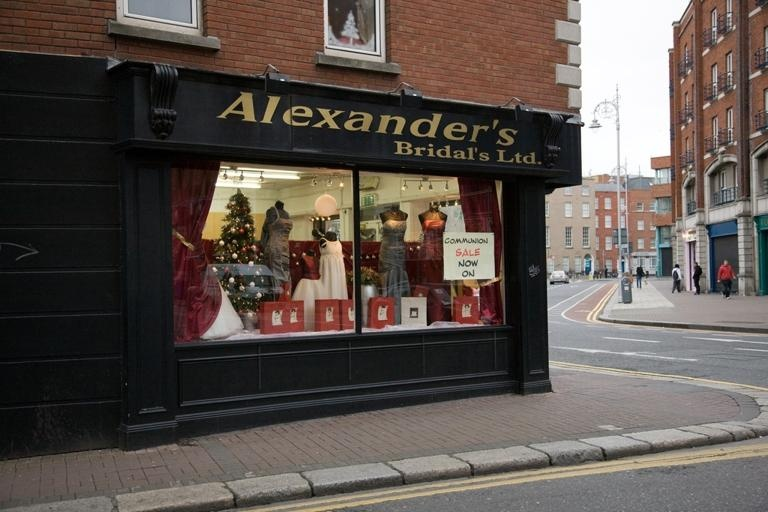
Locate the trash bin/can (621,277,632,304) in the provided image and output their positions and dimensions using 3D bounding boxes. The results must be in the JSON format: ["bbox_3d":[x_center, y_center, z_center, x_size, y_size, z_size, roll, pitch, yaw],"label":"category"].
[{"bbox_3d":[12.566,1.802,33.801,0.411,1.332,1.042,2,7,15],"label":"trash bin/can"}]

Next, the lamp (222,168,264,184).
[{"bbox_3d":[-2.194,-1.221,10.016,0.534,0.220,0.155,0,4,-17],"label":"lamp"}]

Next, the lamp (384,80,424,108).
[{"bbox_3d":[0.339,-2.563,10.434,0.473,0.488,0.468,3,-5,-44],"label":"lamp"}]

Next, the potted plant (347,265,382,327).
[{"bbox_3d":[-0.302,0.634,10.766,0.608,0.966,0.404,-3,8,-18],"label":"potted plant"}]

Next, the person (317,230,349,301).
[{"bbox_3d":[-0.823,0.155,10.628,0.456,1.066,0.270,-1,7,-7],"label":"person"}]

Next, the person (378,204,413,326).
[{"bbox_3d":[0.181,0.106,11.057,0.541,1.865,0.451,-2,7,-15],"label":"person"}]

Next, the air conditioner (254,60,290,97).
[{"bbox_3d":[-1.668,-2.597,9.652,0.471,0.486,0.428,-3,8,-18],"label":"air conditioner"}]
